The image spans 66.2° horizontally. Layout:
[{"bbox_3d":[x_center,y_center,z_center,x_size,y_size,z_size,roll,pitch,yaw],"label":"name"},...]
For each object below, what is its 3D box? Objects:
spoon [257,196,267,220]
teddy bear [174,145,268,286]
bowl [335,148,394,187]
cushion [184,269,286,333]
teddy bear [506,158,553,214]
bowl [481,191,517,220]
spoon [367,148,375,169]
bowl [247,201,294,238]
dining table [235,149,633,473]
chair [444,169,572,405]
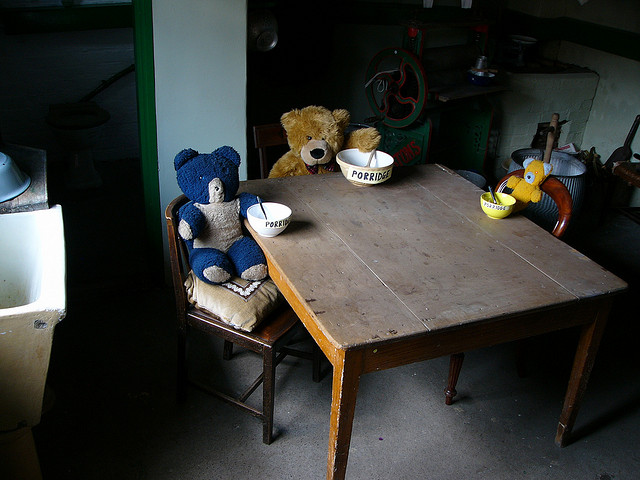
[{"bbox_3d":[-0.257,-0.138,2.160,0.025,0.018,0.133,-1,62,-52],"label":"spoon"},{"bbox_3d":[-0.441,-0.113,2.187,0.392,0.580,0.481,-1,18,4],"label":"teddy bear"},{"bbox_3d":[0.241,-0.380,2.512,0.231,0.111,0.231,0,34,0],"label":"bowl"},{"bbox_3d":[-0.393,0.230,2.202,0.394,0.123,0.264,18,35,29],"label":"cushion"},{"bbox_3d":[0.963,-0.258,2.314,0.171,0.238,0.203,-5,30,-7],"label":"teddy bear"},{"bbox_3d":[0.828,-0.172,2.275,0.140,0.095,0.141,3,29,-2],"label":"bowl"},{"bbox_3d":[0.271,-0.430,2.575,0.022,0.015,0.103,12,76,4],"label":"spoon"},{"bbox_3d":[-0.216,-0.096,2.091,0.156,0.088,0.161,-1,23,0],"label":"bowl"},{"bbox_3d":[0.467,0.377,2.211,0.898,0.695,1.274,-12,39,-16],"label":"dining table"},{"bbox_3d":[0.949,0.225,2.445,0.389,1.106,0.800,15,34,26],"label":"chair"}]
